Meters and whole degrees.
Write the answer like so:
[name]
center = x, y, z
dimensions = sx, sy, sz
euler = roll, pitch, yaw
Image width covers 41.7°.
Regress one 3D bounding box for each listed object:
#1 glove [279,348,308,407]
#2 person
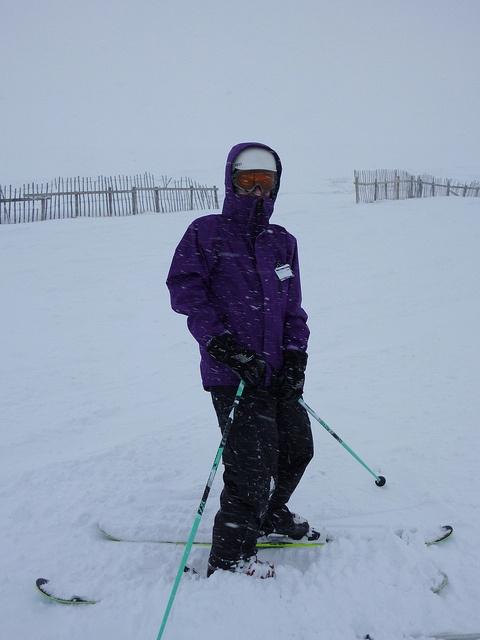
[glove]
center = 0.259, 0.274, 3.115
dimensions = 0.161, 0.233, 0.100
euler = 8, -8, -4
[person]
center = 0.026, 0.195, 3.109
dimensions = 0.588, 2.087, 0.855
euler = 5, 17, 29
